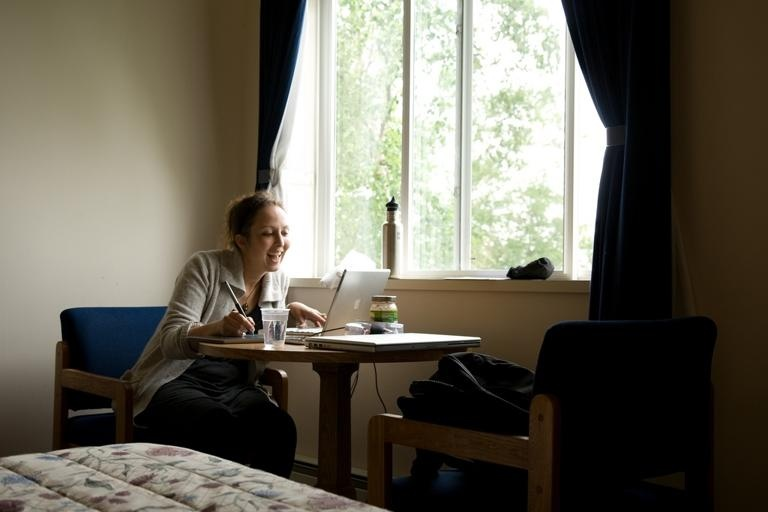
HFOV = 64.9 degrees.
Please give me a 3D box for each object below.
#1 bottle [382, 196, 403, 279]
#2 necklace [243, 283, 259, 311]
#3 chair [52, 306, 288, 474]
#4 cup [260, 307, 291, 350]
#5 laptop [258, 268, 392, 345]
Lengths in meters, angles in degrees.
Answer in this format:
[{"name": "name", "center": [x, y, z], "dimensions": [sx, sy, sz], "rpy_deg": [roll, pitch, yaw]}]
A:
[{"name": "bottle", "center": [0.045, -0.108, 3.259], "dimensions": [0.106, 0.420, 0.174], "rpy_deg": [2, 4, 1]}, {"name": "necklace", "center": [-0.631, 0.195, 2.865], "dimensions": [0.082, 0.113, 0.027], "rpy_deg": [5, -11, 16]}, {"name": "chair", "center": [-1.060, 0.661, 2.901], "dimensions": [0.802, 0.877, 0.829], "rpy_deg": [7, -18, -36]}, {"name": "cup", "center": [-0.422, 0.299, 2.447], "dimensions": [0.136, 0.142, 0.128], "rpy_deg": [2, 1, 0]}, {"name": "laptop", "center": [-0.232, 0.190, 2.594], "dimensions": [0.353, 0.219, 0.362], "rpy_deg": [-2, -5, 31]}]
